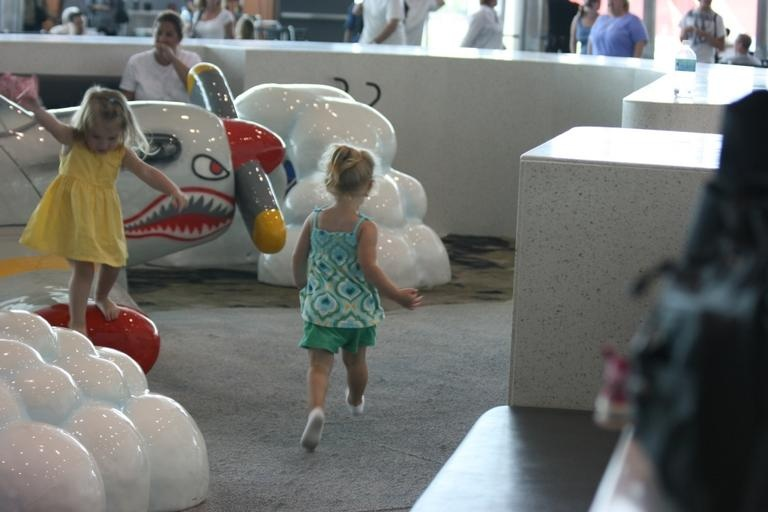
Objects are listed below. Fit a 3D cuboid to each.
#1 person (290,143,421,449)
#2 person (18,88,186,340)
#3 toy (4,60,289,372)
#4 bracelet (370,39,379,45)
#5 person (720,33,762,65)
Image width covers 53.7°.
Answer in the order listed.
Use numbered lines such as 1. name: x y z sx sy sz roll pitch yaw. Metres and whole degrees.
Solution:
1. person: -0.146 0.148 2.917 0.440 1.110 0.447 -3 12 -21
2. person: -1.220 -0.204 3.224 0.612 1.010 0.340 -5 12 -27
3. toy: -1.074 -0.164 3.983 1.278 0.719 1.452 -5 22 -9
4. bracelet: -0.079 -2.177 7.724 0.054 0.058 0.057 -2 9 -23
5. person: 4.191 -2.447 8.906 0.396 0.459 1.866 6 13 23
